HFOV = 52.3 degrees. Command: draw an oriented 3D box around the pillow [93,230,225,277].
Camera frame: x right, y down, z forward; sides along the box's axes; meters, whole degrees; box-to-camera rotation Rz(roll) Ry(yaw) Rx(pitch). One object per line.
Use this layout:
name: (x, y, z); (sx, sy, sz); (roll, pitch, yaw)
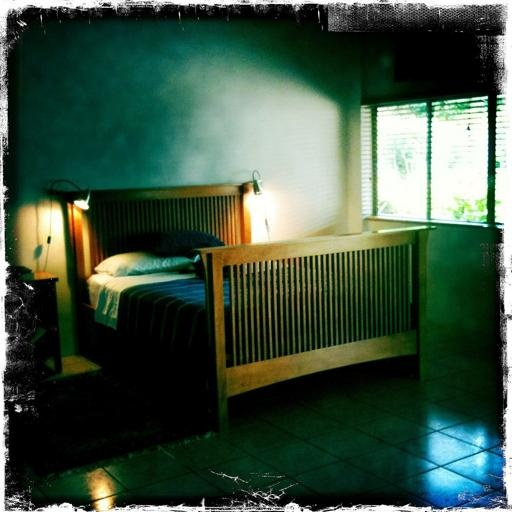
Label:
pillow: (-0.824, -0.024, 4.530); (0.728, 0.173, 0.523); (-5, 12, -26)

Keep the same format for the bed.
bed: (-0.171, 0.127, 4.059); (1.847, 1.500, 2.284); (-5, 6, -36)
